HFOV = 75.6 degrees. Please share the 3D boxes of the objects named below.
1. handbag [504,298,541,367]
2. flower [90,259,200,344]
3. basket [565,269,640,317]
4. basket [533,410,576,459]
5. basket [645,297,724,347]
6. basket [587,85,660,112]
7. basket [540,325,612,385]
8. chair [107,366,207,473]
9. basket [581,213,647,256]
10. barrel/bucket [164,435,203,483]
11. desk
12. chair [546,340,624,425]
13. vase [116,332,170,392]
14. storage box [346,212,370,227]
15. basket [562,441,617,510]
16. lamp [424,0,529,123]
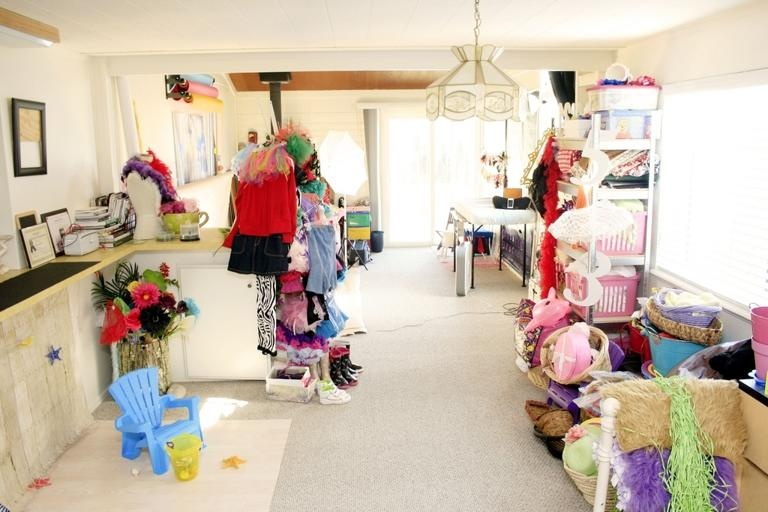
[{"bbox_3d":[1.338,0.725,4.657,0.195,0.546,0.543,0,13,9],"label":"handbag"},{"bbox_3d":[-2.184,0.428,4.523,0.889,0.662,0.535,-2,13,1],"label":"flower"},{"bbox_3d":[2.052,0.340,4.851,0.741,0.467,0.511,-2,14,3],"label":"basket"},{"bbox_3d":[1.335,1.371,3.897,0.274,0.117,0.302,6,22,37],"label":"basket"},{"bbox_3d":[2.298,0.504,3.777,0.410,0.155,0.346,2,9,-1],"label":"basket"},{"bbox_3d":[2.167,-1.432,4.530,0.584,0.231,0.261,4,14,23],"label":"basket"},{"bbox_3d":[1.568,0.825,4.029,0.225,0.518,0.445,30,-43,-21],"label":"basket"},{"bbox_3d":[-1.715,1.263,3.777,0.572,0.582,0.551,4,14,11],"label":"chair"},{"bbox_3d":[2.168,-0.169,4.544,0.535,0.335,0.374,-2,20,3],"label":"basket"},{"bbox_3d":[-1.457,1.467,3.671,0.261,0.281,0.250,-2,13,0],"label":"barrel/bucket"},{"bbox_3d":[1.667,-0.240,7.752,1.195,1.219,1.932,0,13,8],"label":"desk"},{"bbox_3d":[1.642,0.983,4.210,0.642,0.739,0.598,0,2,-13],"label":"chair"},{"bbox_3d":[-2.127,0.963,4.672,0.494,0.534,0.507,-2,8,4],"label":"vase"},{"bbox_3d":[-0.464,-0.649,8.974,0.296,0.178,0.297,0,13,0],"label":"storage box"},{"bbox_3d":[1.334,1.440,3.398,0.413,0.342,0.468,-1,16,11],"label":"basket"},{"bbox_3d":[0.474,-1.106,2.901,0.538,0.849,0.543,18,27,42],"label":"lamp"}]
